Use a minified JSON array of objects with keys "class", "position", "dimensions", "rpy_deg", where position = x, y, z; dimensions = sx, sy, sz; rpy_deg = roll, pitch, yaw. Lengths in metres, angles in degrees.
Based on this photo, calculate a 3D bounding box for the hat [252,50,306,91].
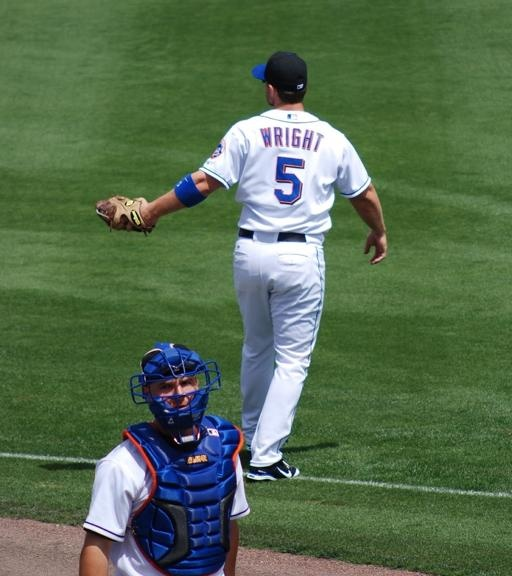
[{"class":"hat","position":[0.144,-1.273,8.417],"dimensions":[0.224,0.179,0.329],"rpy_deg":[-24,42,-38]}]

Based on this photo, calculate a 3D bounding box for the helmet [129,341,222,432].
[{"class":"helmet","position":[-0.375,0.449,6.550],"dimensions":[0.437,0.368,0.424],"rpy_deg":[-9,16,-14]}]

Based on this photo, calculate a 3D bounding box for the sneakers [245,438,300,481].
[{"class":"sneakers","position":[0.122,1.058,8.366],"dimensions":[0.346,0.151,0.122],"rpy_deg":[-2,6,-23]}]

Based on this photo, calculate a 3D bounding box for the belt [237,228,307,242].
[{"class":"belt","position":[0.095,-0.296,8.217],"dimensions":[0.411,0.087,0.120],"rpy_deg":[10,7,21]}]

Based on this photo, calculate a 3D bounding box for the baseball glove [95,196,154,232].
[{"class":"baseball glove","position":[-0.778,-0.426,8.340],"dimensions":[0.335,0.180,0.160],"rpy_deg":[4,-20,5]}]
